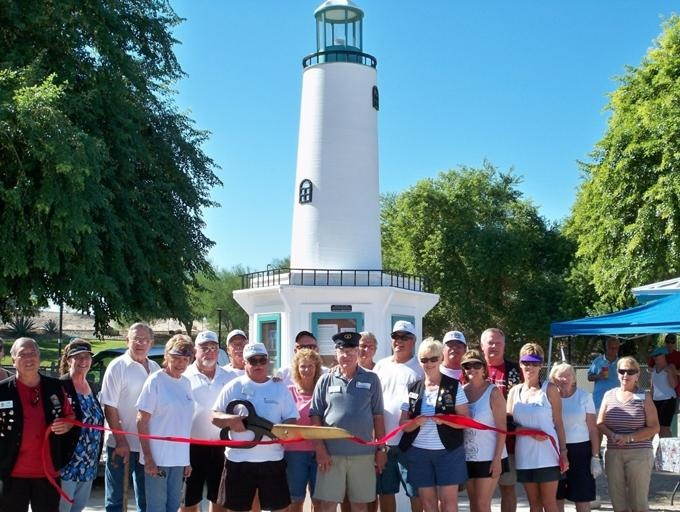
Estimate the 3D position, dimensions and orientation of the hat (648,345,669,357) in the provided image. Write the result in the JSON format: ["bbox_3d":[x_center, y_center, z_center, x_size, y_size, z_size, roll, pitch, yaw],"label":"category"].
[{"bbox_3d":[6.668,2.000,19.047,0.269,0.161,0.194,-1,-9,-18],"label":"hat"}]

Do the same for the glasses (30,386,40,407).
[{"bbox_3d":[-4.234,1.981,12.729,0.140,0.216,0.077,-1,2,-21],"label":"glasses"}]

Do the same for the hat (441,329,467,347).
[{"bbox_3d":[1.735,1.248,13.969,0.293,0.235,0.501,1,-13,7],"label":"hat"}]

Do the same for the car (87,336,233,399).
[{"bbox_3d":[-2.797,1.782,14.309,1.310,1.203,2.225,-5,-20,28],"label":"car"}]

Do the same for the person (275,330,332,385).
[{"bbox_3d":[-0.540,1.750,14.908,0.705,1.081,0.523,-3,1,17],"label":"person"}]

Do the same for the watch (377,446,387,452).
[{"bbox_3d":[0.603,2.810,13.260,0.105,0.065,0.105,8,-11,-41],"label":"watch"}]

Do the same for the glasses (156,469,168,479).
[{"bbox_3d":[-2.532,3.108,12.947,0.089,0.147,0.149,4,8,16],"label":"glasses"}]
